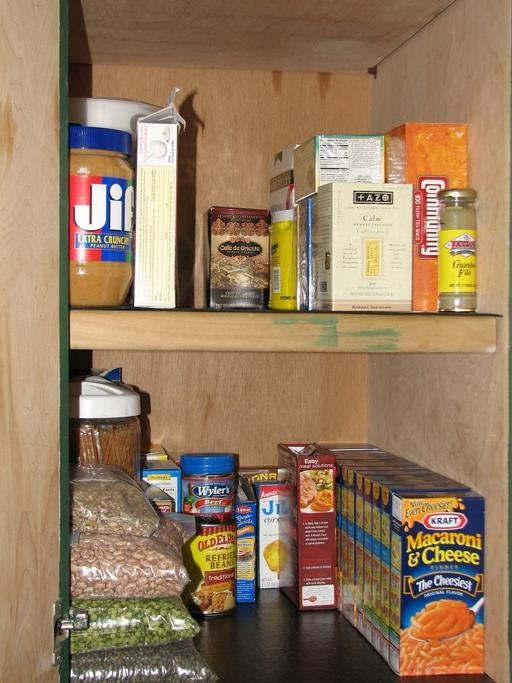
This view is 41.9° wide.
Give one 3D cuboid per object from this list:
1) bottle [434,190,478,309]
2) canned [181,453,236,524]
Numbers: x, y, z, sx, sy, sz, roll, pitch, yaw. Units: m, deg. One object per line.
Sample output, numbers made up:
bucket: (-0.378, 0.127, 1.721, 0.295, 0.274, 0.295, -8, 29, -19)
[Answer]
bottle: (0.289, -0.129, 0.959, 0.050, 0.171, 0.060, 0, -9, 15)
canned: (-0.081, 0.244, 1.140, 0.104, 0.111, 0.103, -1, -3, 14)
